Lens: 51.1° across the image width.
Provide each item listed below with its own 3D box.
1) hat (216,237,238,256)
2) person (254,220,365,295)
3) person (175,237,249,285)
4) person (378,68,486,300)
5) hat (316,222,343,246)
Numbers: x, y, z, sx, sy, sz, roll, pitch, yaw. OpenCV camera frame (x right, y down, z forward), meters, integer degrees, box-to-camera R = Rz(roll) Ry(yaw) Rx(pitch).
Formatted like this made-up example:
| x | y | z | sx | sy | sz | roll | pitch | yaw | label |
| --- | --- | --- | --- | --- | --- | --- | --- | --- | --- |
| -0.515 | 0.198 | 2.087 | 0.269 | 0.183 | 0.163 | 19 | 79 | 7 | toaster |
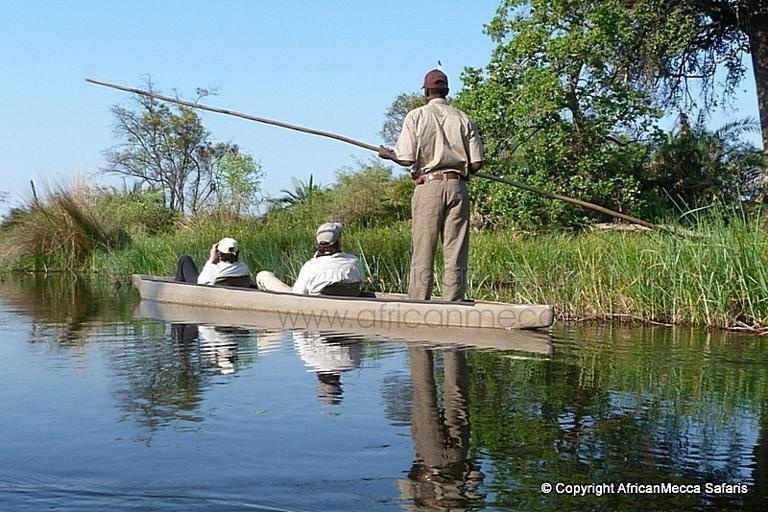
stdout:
| x | y | z | sx | sy | sz | roll | pitch | yaw | label |
| --- | --- | --- | --- | --- | --- | --- | --- | --- | --- |
| -2.433 | -0.132 | 12.501 | 0.297 | 0.285 | 0.531 | -2 | 9 | -14 | hat |
| -1.175 | 0.154 | 12.130 | 1.049 | 1.293 | 2.247 | -4 | 6 | -32 | person |
| -2.765 | 0.126 | 13.154 | 0.694 | 0.802 | 1.341 | -3 | 9 | -39 | person |
| 0.719 | -0.689 | 10.703 | 1.139 | 2.587 | 0.501 | 0 | 9 | -1 | person |
| -0.767 | -0.296 | 11.102 | 0.322 | 0.292 | 0.303 | -1 | 9 | -8 | hat |
